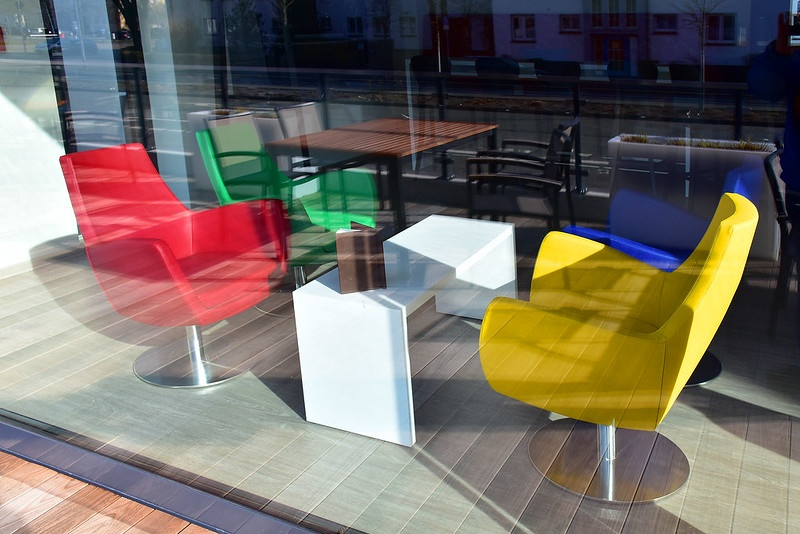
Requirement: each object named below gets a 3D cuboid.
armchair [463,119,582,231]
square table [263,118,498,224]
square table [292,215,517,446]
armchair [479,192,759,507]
[{"bbox_3d":[0.802,-0.551,3.728,0.740,0.584,0.541,1,28,12],"label":"armchair"},{"bbox_3d":[-0.128,-0.647,3.811,1.076,0.409,1.228,0,-2,-37],"label":"square table"},{"bbox_3d":[0.049,0.329,2.746,0.719,0.484,1.314,8,22,29],"label":"square table"},{"bbox_3d":[0.876,0.276,2.349,0.857,1.131,0.913,8,27,24],"label":"armchair"}]
